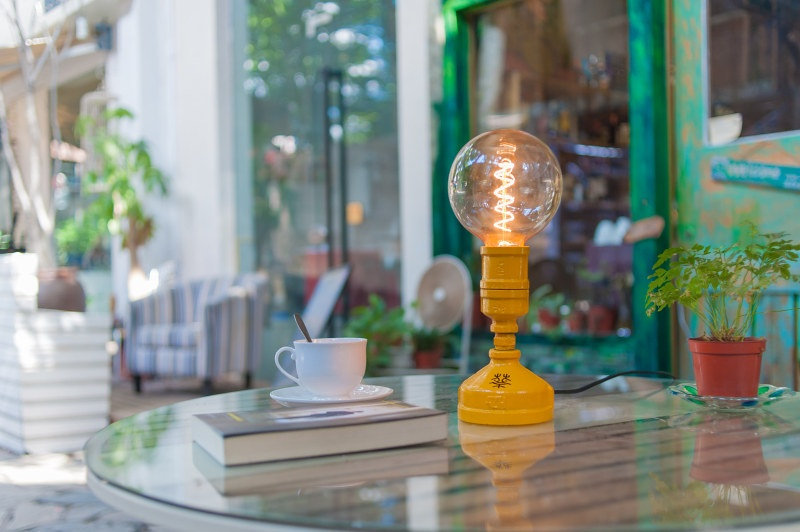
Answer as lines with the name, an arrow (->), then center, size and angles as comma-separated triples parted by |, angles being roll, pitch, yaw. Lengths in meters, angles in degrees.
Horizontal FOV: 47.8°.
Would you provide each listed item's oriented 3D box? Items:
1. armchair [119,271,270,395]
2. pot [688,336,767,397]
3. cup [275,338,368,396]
armchair -> -1.313, 0.461, 6.287 | 0.980, 0.937, 0.806 | -4, -9, 29
pot -> 0.927, 0.294, 2.557 | 0.166, 0.133, 0.173 | 0, -9, 0
cup -> -0.195, 0.271, 2.445 | 0.202, 0.124, 0.165 | 1, 1, 7
